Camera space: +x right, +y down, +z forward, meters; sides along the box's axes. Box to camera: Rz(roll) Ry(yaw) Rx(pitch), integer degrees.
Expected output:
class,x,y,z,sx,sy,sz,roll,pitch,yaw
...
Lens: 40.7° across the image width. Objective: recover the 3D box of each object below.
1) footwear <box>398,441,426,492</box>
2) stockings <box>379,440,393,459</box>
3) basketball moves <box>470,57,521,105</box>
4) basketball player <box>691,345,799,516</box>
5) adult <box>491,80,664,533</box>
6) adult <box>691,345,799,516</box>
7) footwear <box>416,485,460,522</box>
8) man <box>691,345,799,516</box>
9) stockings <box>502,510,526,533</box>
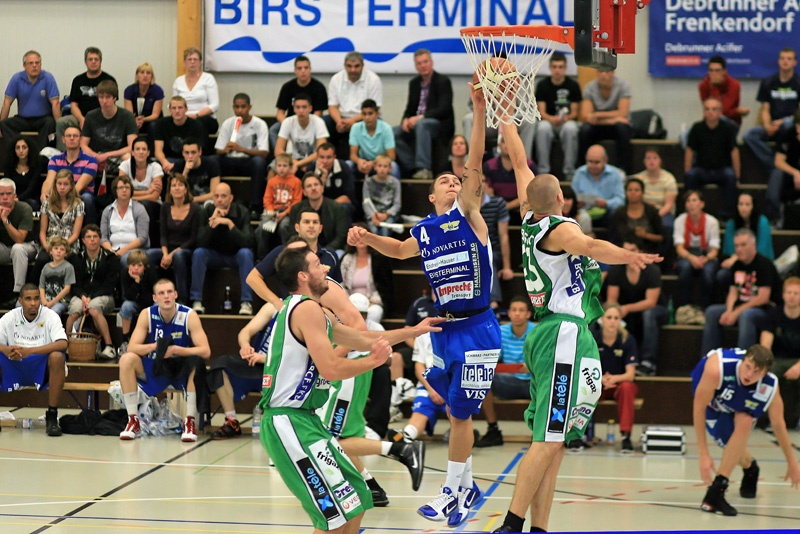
class,x,y,z,sx,sy,sz,roll,pitch,yaw
footwear,0.140,2.112,11.921,0.234,0.630,0.202,-6,9,-1
stockings,-0.164,2.017,11.982,0.124,0.134,0.132,-1,0,28
basketball moves,1.060,-2.034,11.895,0.388,0.492,0.576,1,-27,19
basketball player,3.904,1.781,12.273,1.113,1.791,0.878,-1,4,9
adult,1.669,0.867,11.090,1.101,3.576,0.738,-1,4,7
adult,3.901,1.781,12.273,1.107,1.791,0.878,-1,4,9
footwear,0.461,2.517,11.622,0.230,0.335,0.664,4,3,44
man,3.904,1.781,12.273,1.112,1.791,0.878,-1,4,9
stockings,1.141,2.549,10.930,0.179,0.219,0.203,-2,-12,31
